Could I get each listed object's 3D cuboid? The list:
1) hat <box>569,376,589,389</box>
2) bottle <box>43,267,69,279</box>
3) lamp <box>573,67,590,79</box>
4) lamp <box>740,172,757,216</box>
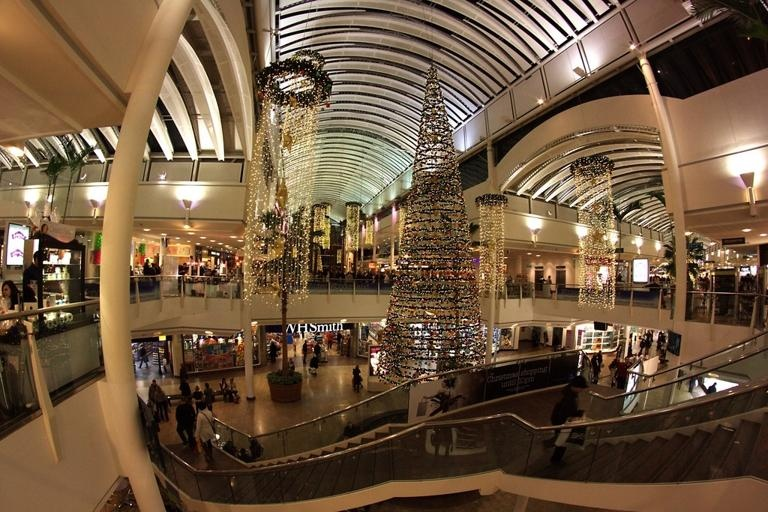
[{"bbox_3d":[4.238,2.732,10.840,0.318,0.228,0.421,7,-10,-38],"label":"hat"},{"bbox_3d":[-7.351,0.354,11.109,0.239,0.304,0.452,-4,-2,25],"label":"bottle"},{"bbox_3d":[7.148,-6.699,18.015,0.439,0.299,0.453,-11,6,20],"label":"lamp"},{"bbox_3d":[10.920,-1.875,14.735,0.354,1.325,0.465,-9,6,35],"label":"lamp"}]
